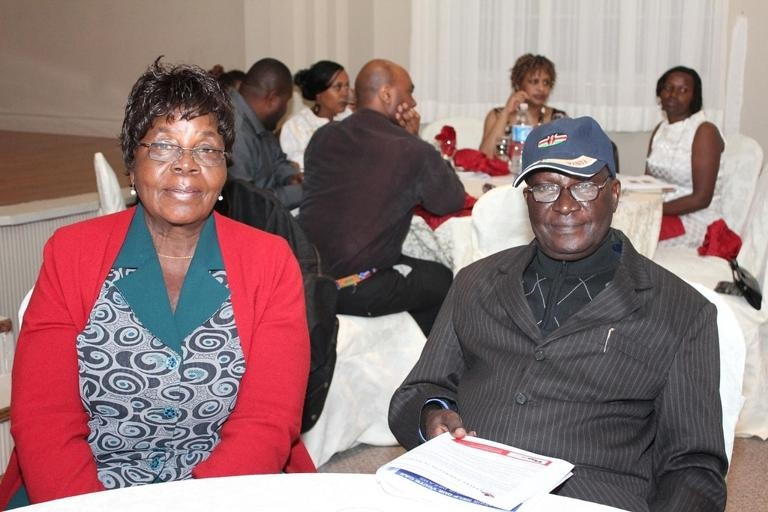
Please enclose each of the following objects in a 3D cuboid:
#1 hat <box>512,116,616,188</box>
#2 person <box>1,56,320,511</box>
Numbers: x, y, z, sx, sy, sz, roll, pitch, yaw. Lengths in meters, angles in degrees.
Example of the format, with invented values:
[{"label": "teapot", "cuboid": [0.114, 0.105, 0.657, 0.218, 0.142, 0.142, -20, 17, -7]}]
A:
[{"label": "hat", "cuboid": [0.522, -0.307, 1.615, 0.256, 0.173, 0.356, -3, 6, 37]}, {"label": "person", "cuboid": [-0.619, 0.061, 1.471, 0.811, 1.159, 0.464, -3, 12, -9]}]
